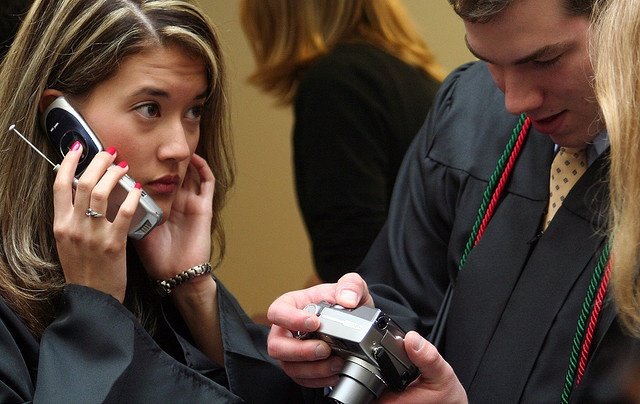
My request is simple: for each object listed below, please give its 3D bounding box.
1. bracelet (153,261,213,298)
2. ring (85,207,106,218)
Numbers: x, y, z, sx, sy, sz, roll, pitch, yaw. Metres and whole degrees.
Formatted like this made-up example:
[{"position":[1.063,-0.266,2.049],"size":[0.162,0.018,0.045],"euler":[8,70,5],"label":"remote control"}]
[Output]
[{"position":[-0.504,0.284,2.359],"size":[0.129,0.053,0.139],"euler":[-23,-15,-2],"label":"bracelet"},{"position":[-0.714,0.038,2.031],"size":[0.032,0.019,0.036],"euler":[23,0,28],"label":"ring"}]
